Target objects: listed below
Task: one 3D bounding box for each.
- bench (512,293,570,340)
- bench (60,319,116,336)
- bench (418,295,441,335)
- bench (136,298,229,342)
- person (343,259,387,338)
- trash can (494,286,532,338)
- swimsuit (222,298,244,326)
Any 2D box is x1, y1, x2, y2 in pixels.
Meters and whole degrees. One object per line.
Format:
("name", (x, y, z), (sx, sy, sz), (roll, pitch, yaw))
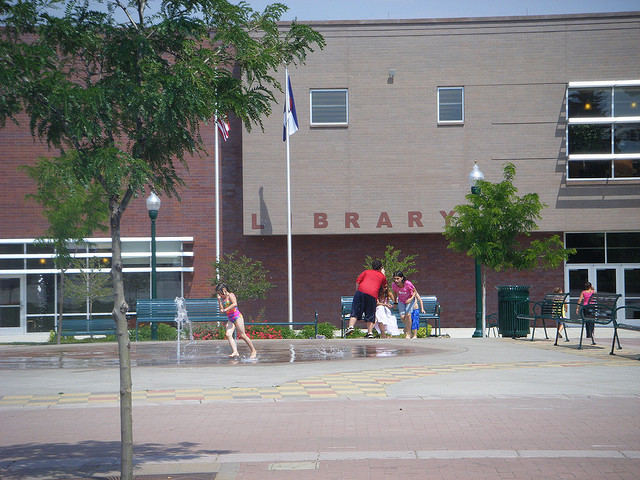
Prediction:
("bench", (5.575, 1.968, 28.198), (0.773, 0.976, 1.040), (-10, 1, -21))
("bench", (-6.562, 2.523, 32.016), (1.511, 0.429, 1.058), (-1, -3, -12))
("bench", (3.216, 2.099, 32.750), (0.901, 1.203, 0.880), (0, -8, 3))
("bench", (-3.495, 2.187, 31.001), (3.283, 1.334, 1.058), (0, 6, 21))
("person", (1.144, 1.492, 27.428), (0.858, 2.115, 0.790), (25, -26, -26))
("trash can", (5.060, 1.873, 29.210), (0.959, 1.242, 0.968), (0, -1, 32))
("swimsuit", (-2.004, 1.654, 25.546), (0.380, 0.578, 0.676), (-1, -3, -8))
